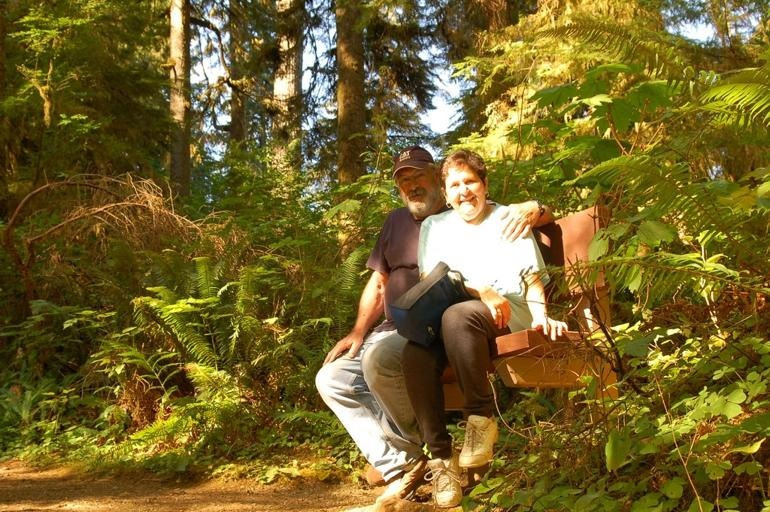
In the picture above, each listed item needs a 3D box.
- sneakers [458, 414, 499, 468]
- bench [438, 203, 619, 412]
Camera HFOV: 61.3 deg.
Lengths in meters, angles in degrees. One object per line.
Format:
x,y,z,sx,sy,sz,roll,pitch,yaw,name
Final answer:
0.657,1.325,4.638,0.171,0.219,0.478,-3,21,23,sneakers
1.055,0.382,4.742,0.613,1.031,1.338,10,-17,-27,bench
